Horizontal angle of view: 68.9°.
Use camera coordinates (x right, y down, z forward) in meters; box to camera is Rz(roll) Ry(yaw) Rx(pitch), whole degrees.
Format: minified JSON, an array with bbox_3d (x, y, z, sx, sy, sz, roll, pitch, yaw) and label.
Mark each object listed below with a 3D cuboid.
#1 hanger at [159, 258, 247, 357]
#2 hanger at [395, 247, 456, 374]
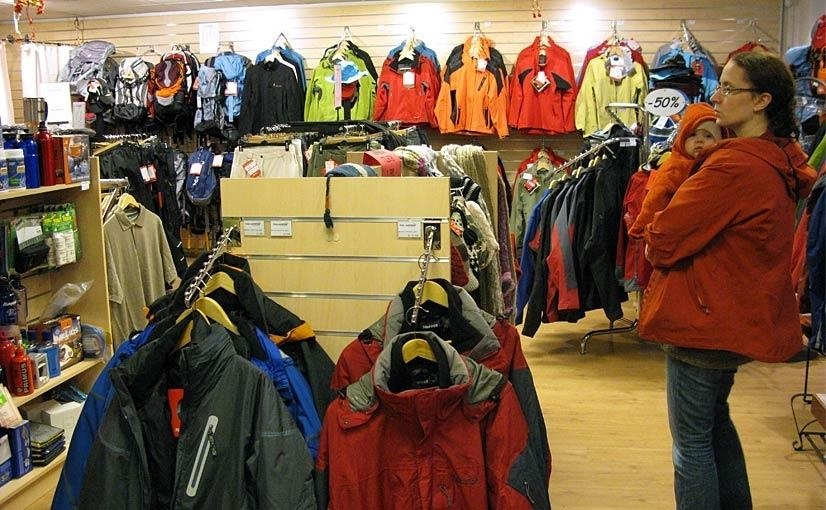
[{"bbox_3d":[-1.121,0.186,3.187,0.522,0.339,0.366,-7,9,-33],"label":"hanger"},{"bbox_3d":[0.067,0.294,3.054,0.075,0.650,0.101,-7,-29,26],"label":"hanger"}]
